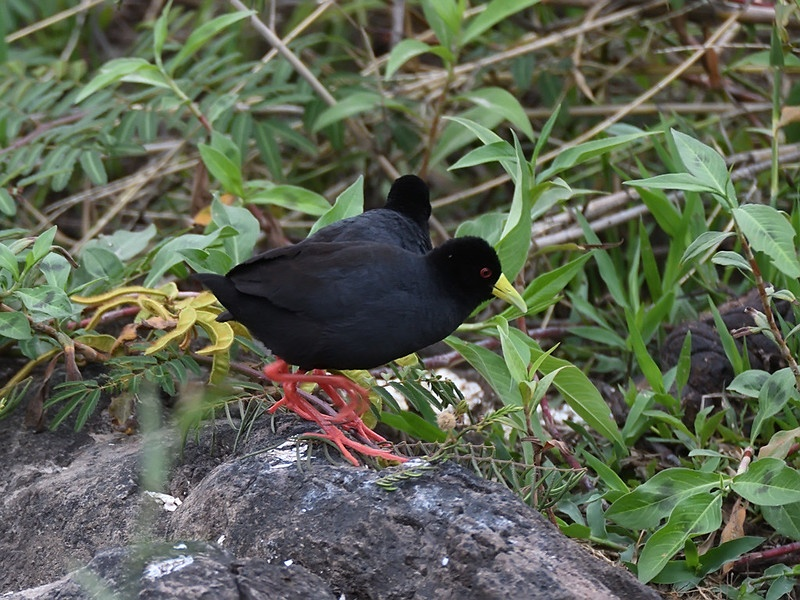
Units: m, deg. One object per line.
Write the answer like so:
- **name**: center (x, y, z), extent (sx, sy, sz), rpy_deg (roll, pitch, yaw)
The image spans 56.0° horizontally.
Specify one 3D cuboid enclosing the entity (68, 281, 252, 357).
- **entity**: center (-1.209, 0.147, 3.632), extent (0.587, 0.182, 0.514), rpy_deg (9, 2, -33)
